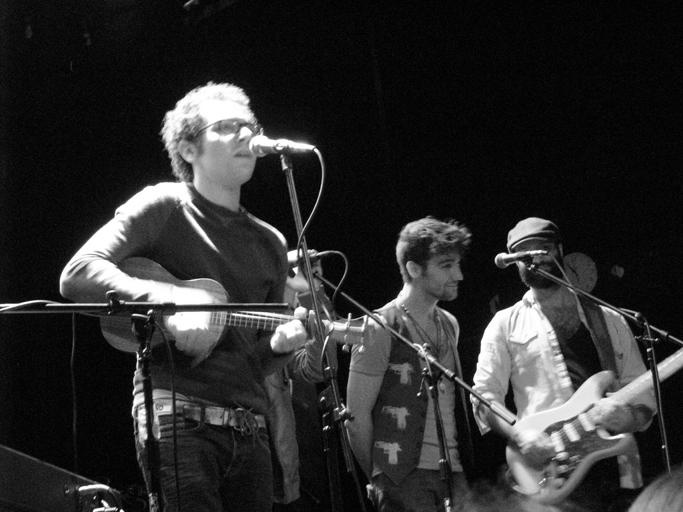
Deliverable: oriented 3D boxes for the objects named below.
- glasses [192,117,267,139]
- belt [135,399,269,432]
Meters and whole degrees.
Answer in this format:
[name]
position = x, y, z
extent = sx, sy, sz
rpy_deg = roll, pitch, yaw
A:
[glasses]
position = -0.657, -0.733, 4.762
extent = 0.184, 0.054, 0.180
rpy_deg = -18, -14, 23
[belt]
position = -0.703, 0.820, 4.346
extent = 0.383, 0.094, 0.297
rpy_deg = 15, -12, -26
